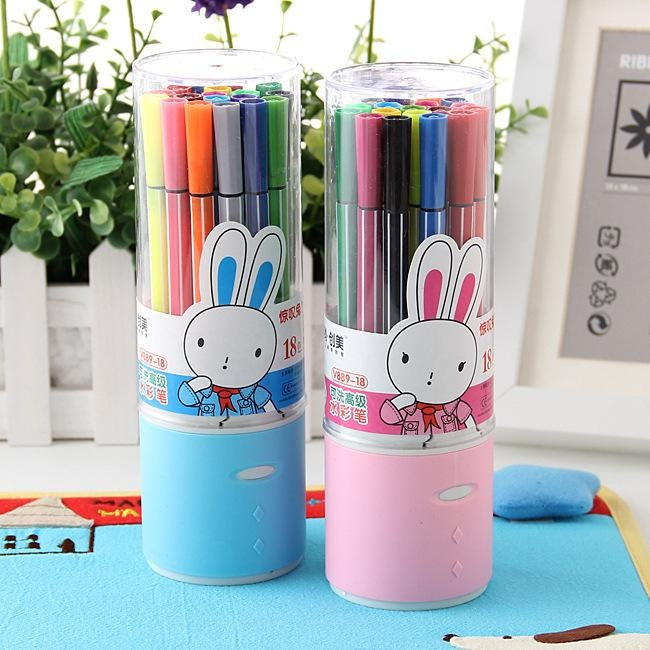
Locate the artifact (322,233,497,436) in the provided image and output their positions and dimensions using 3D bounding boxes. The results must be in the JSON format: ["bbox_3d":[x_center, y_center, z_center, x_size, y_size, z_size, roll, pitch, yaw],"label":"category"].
[{"bbox_3d":[0.040,-0.004,0.452,0.112,0.114,0.107,-2,6,-16],"label":"artifact"}]

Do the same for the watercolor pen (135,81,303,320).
[{"bbox_3d":[-0.062,-0.068,0.413,0.081,0.122,0.035,-4,15,-13],"label":"watercolor pen"}]
